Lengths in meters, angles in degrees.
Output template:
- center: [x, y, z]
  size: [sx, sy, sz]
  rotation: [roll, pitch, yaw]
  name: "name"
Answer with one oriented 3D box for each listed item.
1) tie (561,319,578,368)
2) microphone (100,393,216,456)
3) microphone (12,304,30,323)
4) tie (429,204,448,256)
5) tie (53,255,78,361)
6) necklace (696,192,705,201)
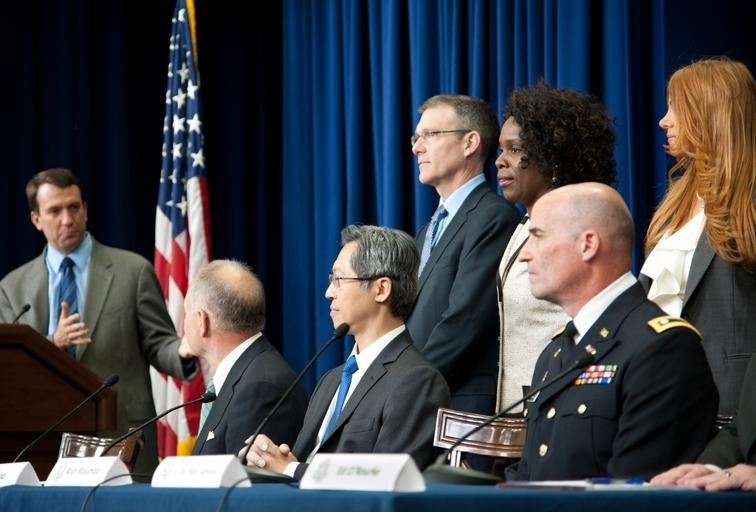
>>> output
- center: [0.645, 0.291, 3.050]
  size: [0.032, 0.130, 0.073]
  rotation: [21, -24, -36]
  name: "tie"
- center: [-1.097, 0.848, 4.516]
  size: [0.994, 0.111, 0.247]
  rotation: [-29, -40, 35]
  name: "microphone"
- center: [-1.872, 0.307, 4.767]
  size: [0.055, 0.078, 0.209]
  rotation: [-7, -10, 7]
  name: "microphone"
- center: [0.282, -0.135, 4.292]
  size: [0.049, 0.326, 0.045]
  rotation: [-1, -27, 38]
  name: "tie"
- center: [-1.682, 0.183, 4.915]
  size: [0.130, 0.372, 0.135]
  rotation: [2, -2, -19]
  name: "tie"
- center: [1.271, -0.235, 3.570]
  size: [0.008, 0.037, 0.034]
  rotation: [-24, 14, -38]
  name: "necklace"
